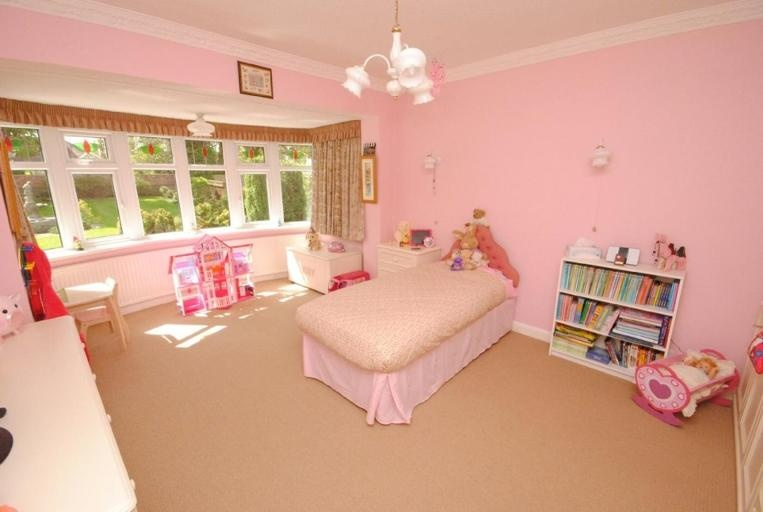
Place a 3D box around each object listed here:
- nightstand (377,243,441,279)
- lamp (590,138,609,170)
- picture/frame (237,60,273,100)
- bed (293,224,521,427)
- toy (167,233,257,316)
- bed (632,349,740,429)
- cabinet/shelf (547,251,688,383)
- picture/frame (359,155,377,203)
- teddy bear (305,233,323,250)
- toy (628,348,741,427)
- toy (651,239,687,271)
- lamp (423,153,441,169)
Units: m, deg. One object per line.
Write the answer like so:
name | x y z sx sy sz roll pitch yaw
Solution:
nightstand | 0.394 -0.014 6.974 0.542 0.683 0.734 -5 8 -39
lamp | 2.537 -1.149 5.377 0.223 0.323 0.155 5 15 23
picture/frame | -1.503 -2.092 5.516 0.446 0.375 0.045 -1 1 -41
bed | 0.402 0.615 5.636 2.340 1.417 1.528 -14 19 -43
toy | -2.611 0.318 7.076 0.467 0.997 1.058 14 20 43
bed | 3.235 1.360 5.058 0.970 0.680 0.681 -8 10 -27
cabinet/shelf | 2.753 0.697 5.308 1.287 1.518 0.447 10 8 38
picture/frame | -0.186 -1.159 7.118 0.069 0.692 0.308 -12 18 -37
teddy bear | -1.097 -0.273 7.868 0.279 0.293 0.270 14 23 37
toy | 3.210 1.290 5.017 0.970 0.680 0.681 -8 10 -27
toy | 3.204 -0.006 5.169 0.333 0.378 0.283 5 11 43
lamp | 0.696 -1.334 6.671 0.184 0.223 0.242 -12 18 -40
